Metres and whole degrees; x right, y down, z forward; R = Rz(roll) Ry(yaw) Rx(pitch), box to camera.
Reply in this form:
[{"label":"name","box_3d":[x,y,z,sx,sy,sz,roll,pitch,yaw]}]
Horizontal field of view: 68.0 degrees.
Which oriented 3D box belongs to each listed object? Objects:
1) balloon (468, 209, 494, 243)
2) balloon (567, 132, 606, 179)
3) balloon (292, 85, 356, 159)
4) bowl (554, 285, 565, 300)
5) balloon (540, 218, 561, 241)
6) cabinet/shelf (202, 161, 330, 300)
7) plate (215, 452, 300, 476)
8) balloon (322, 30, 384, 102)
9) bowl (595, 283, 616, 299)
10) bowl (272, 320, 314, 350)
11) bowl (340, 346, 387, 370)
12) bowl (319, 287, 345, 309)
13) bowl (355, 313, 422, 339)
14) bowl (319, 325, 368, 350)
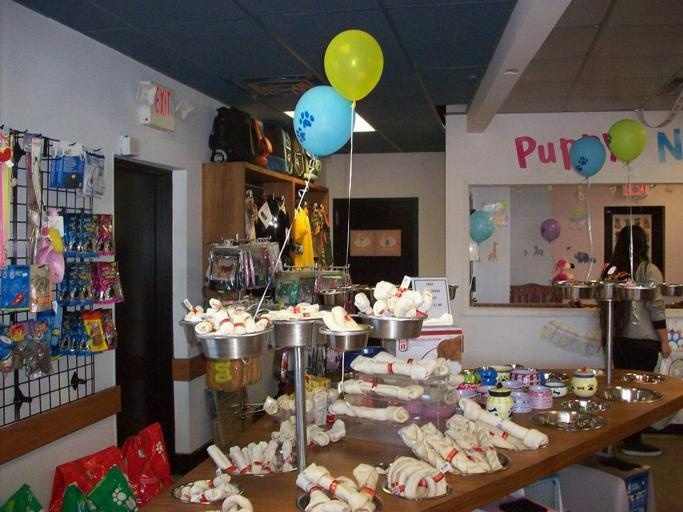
[{"label":"balloon","box_3d":[1.509,-0.328,5.693,0.295,0.392,0.308,4,-8,-1]},{"label":"balloon","box_3d":[2.316,-0.996,4.991,0.360,0.501,0.378,0,-2,3]},{"label":"balloon","box_3d":[-0.129,-0.827,3.199,0.380,0.495,0.397,3,11,-5]},{"label":"bowl","box_3d":[1.680,0.270,3.908,0.075,0.120,0.231,-2,1,22]},{"label":"balloon","box_3d":[2.430,-0.315,5.893,0.223,0.310,0.234,1,-3,3]},{"label":"cabinet/shelf","box_3d":[-0.841,-0.269,5.284,0.444,1.275,1.843,-2,1,18]},{"label":"plate","box_3d":[-0.404,0.950,2.331,0.386,0.095,0.114,-2,0,0]},{"label":"balloon","box_3d":[0.091,-1.093,2.925,0.343,0.449,0.365,-7,28,3]},{"label":"bowl","box_3d":[1.863,0.241,3.570,0.107,0.130,0.109,3,-7,0]},{"label":"bowl","box_3d":[-0.201,0.336,2.216,0.216,0.125,0.120,-2,0,-17]},{"label":"bowl","box_3d":[0.139,0.658,3.468,0.266,0.125,0.397,-1,0,-3]},{"label":"bowl","box_3d":[-0.073,0.341,4.153,0.217,0.161,0.296,-2,1,-3]},{"label":"bowl","box_3d":[0.235,0.325,2.396,0.264,0.124,0.191,-2,1,-11]},{"label":"bowl","box_3d":[0.015,0.367,2.278,0.223,0.115,0.175,-2,1,6]}]
